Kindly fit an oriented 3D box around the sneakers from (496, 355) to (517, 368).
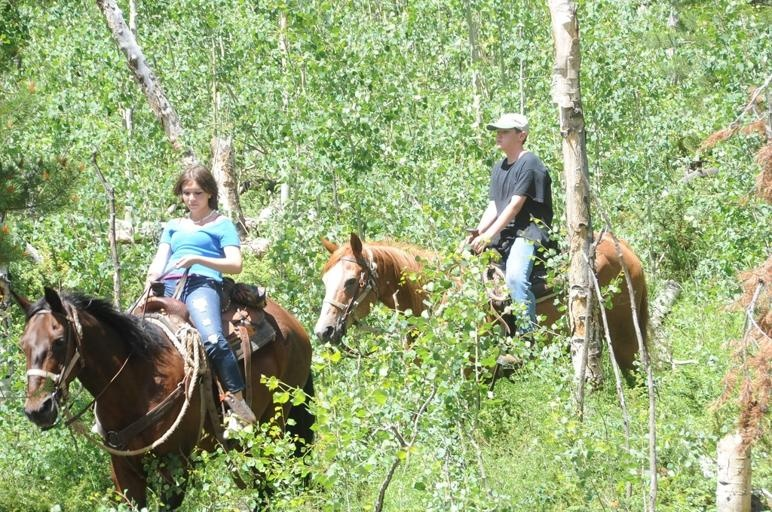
[{"bbox_3d":[1.846,1.648,14.656,0.223,0.318,0.121,8,40,-1],"label":"sneakers"}]
